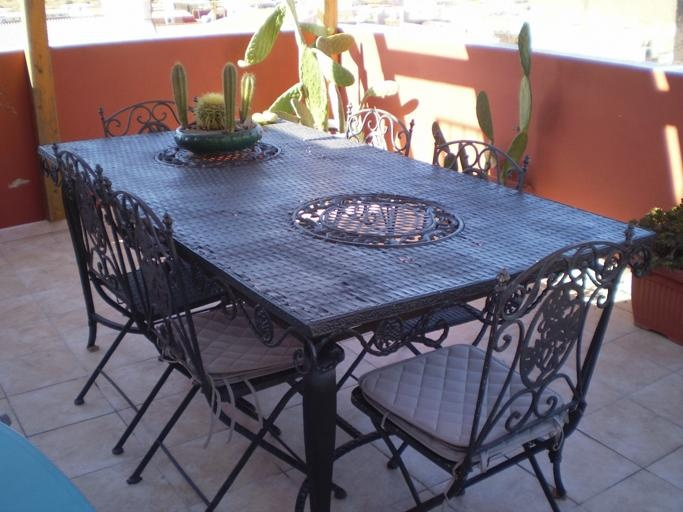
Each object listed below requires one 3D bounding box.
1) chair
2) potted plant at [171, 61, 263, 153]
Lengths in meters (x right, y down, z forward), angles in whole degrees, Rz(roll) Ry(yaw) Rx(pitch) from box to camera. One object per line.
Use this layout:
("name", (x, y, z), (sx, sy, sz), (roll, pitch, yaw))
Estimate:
("chair", (0.003, 0.271, 2.306), (1.833, 1.269, 1.505), (21, 31, 38))
("potted plant", (-0.679, -0.756, 3.032), (0.456, 0.490, 0.481), (13, 29, 24))
